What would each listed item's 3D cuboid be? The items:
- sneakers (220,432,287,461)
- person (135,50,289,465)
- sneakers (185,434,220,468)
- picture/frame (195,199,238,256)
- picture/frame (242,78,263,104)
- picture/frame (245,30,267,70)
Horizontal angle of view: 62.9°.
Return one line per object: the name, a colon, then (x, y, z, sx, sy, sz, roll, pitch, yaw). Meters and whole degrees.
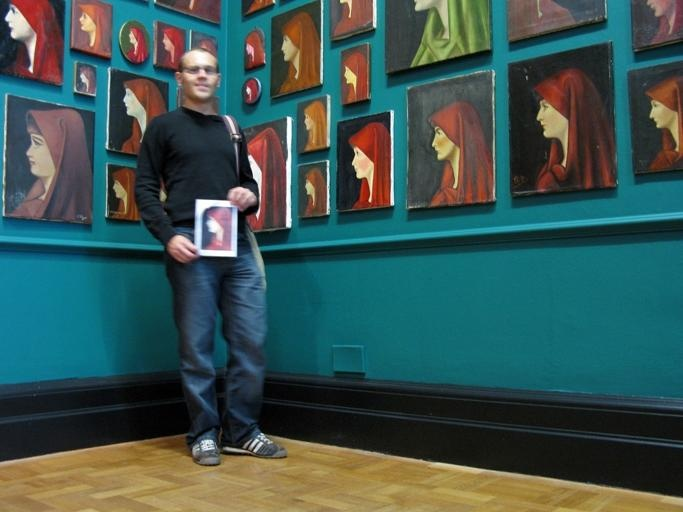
sneakers: (-0.462, 1.024, 3.037, 0.362, 0.129, 0.129, -2, -22, 19)
person: (-0.729, -0.032, 3.039, 0.706, 2.240, 0.348, -2, -1, -22)
sneakers: (-0.710, 1.008, 2.909, 0.129, 0.117, 0.173, -2, -2, -18)
picture/frame: (-0.673, -0.147, 2.954, 0.303, 0.383, 0.050, 1, -4, -26)
picture/frame: (-0.621, -1.150, 3.905, 0.028, 0.196, 0.201, 1, -5, -44)
picture/frame: (-0.609, -1.454, 3.911, 0.217, 0.283, 0.020, 15, 23, 34)
